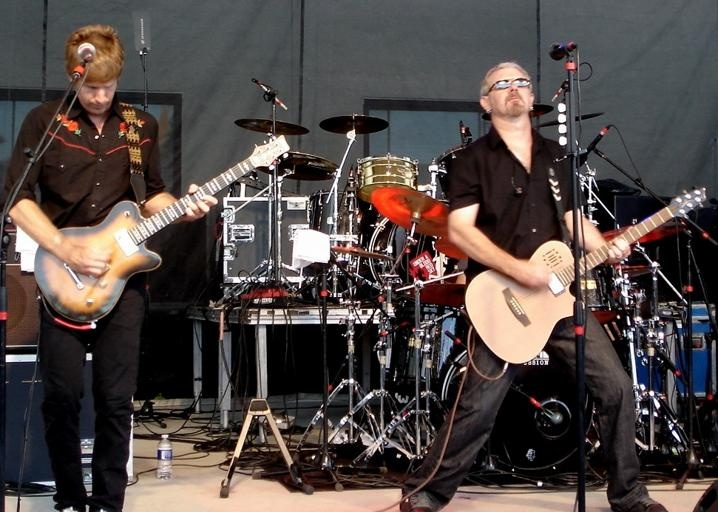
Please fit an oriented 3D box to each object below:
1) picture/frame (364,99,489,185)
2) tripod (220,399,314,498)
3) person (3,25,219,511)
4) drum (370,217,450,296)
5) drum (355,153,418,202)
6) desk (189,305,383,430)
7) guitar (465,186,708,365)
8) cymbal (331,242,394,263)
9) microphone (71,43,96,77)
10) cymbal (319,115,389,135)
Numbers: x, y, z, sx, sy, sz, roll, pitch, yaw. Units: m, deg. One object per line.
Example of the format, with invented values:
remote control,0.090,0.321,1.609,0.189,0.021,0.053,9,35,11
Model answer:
picture/frame,0.609,-0.842,9.534,1.286,0.871,0.716,0,5,-6
tripod,-0.626,1.220,6.612,0.597,0.660,0.734,2,-12,-16
person,-1.556,0.069,5.800,0.963,2.834,0.595,2,-6,-10
drum,0.297,0.028,7.436,0.517,0.516,0.526,-5,-44,27
drum,0.181,-0.597,7.377,0.383,0.161,0.371,0,-11,0
desk,-0.739,0.791,7.888,1.192,0.701,1.170,2,-9,-15
guitar,1.421,0.150,6.372,1.368,0.503,0.142,-34,4,-7
cymbal,0.035,-0.042,6.665,0.391,0.128,0.736,0,-7,2
microphone,-1.524,-1.106,5.541,0.102,0.238,0.088,13,25,-12
cymbal,-0.030,-1.045,7.972,0.308,0.059,0.302,0,-14,-3
